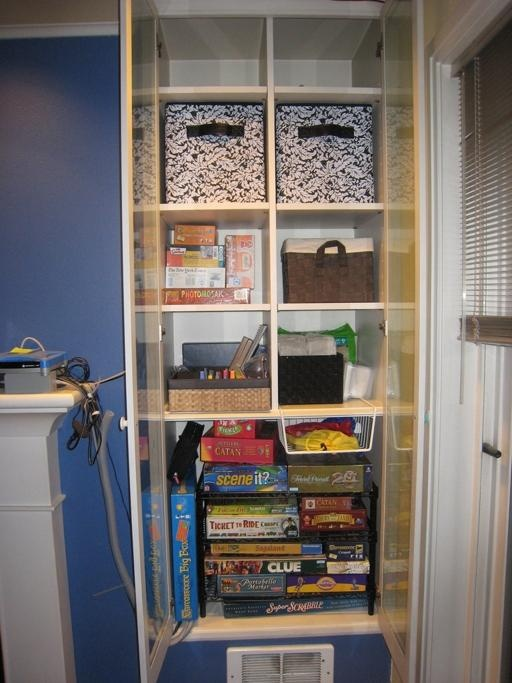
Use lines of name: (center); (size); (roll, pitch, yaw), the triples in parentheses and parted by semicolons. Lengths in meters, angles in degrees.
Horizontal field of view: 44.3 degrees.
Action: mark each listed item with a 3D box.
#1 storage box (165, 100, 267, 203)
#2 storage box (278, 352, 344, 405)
storage box: (-0.147, -0.678, 2.422); (0.343, 0.371, 0.361); (0, 4, -2)
storage box: (0.205, 0.141, 2.270); (0.286, 0.217, 0.163); (0, -2, -1)
